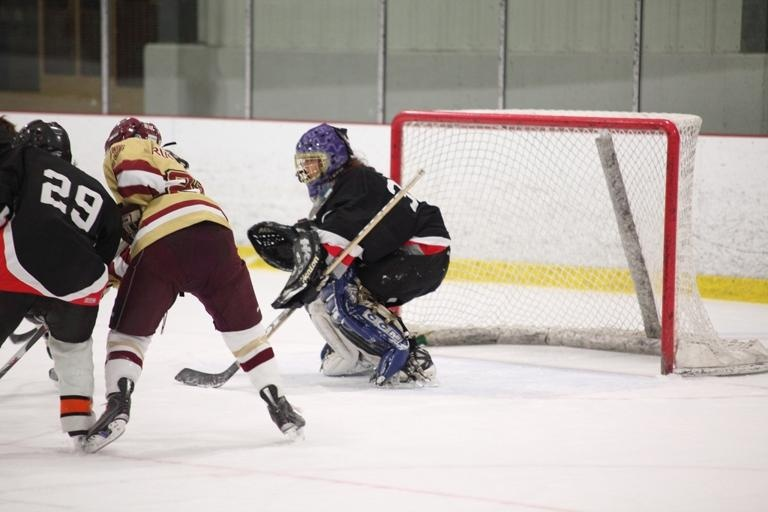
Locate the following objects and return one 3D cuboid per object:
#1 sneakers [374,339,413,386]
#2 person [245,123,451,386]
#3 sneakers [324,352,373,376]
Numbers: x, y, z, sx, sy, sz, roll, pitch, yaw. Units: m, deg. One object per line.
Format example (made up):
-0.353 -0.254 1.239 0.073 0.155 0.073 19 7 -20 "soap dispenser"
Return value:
0.032 0.560 4.702 0.116 0.237 0.138 40 9 -16 "sneakers"
-0.148 -0.054 5.399 1.454 1.688 1.033 2 2 -5 "person"
-0.192 0.580 4.865 0.223 0.088 0.128 1 7 -5 "sneakers"
